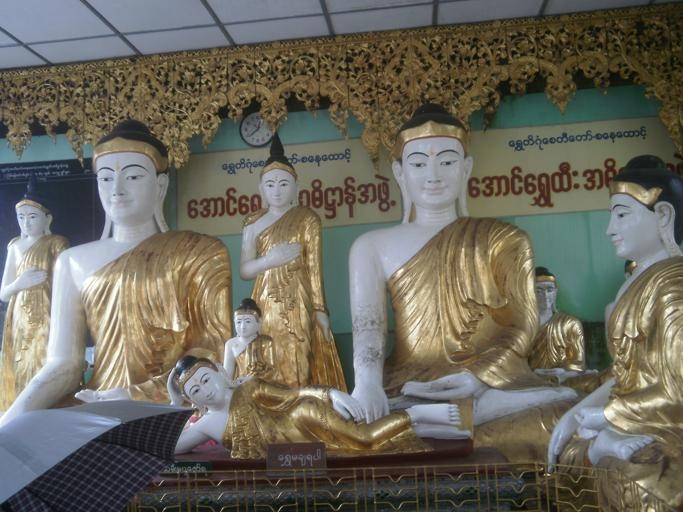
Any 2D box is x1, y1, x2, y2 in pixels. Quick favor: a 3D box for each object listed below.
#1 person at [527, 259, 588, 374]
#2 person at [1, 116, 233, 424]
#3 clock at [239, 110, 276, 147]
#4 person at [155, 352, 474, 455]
[{"bbox_3d":[1.571,0.575,8.670,0.647,0.998,0.578,-1,0,4],"label":"person"},{"bbox_3d":[-1.558,-0.003,8.074,1.453,2.009,0.772,-4,3,-6],"label":"person"},{"bbox_3d":[-0.718,-1.113,9.579,0.408,0.406,0.071,0,2,7],"label":"clock"},{"bbox_3d":[-0.215,0.990,6.870,1.712,0.653,0.734,1,-13,-5],"label":"person"}]
